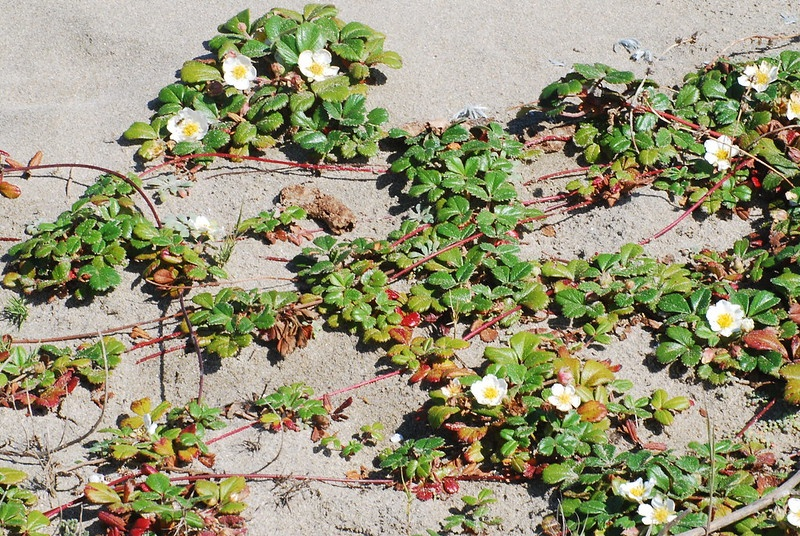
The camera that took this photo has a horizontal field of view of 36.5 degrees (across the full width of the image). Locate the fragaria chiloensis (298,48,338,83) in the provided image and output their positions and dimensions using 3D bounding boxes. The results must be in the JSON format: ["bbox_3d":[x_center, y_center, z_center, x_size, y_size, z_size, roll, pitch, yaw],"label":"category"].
[{"bbox_3d":[-0.835,-2.014,12.037,0.354,0.175,0.323,47,68,-13],"label":"fragaria chiloensis"}]

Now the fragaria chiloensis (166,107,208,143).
[{"bbox_3d":[-2.074,-1.376,11.887,0.394,0.244,0.296,4,53,-5],"label":"fragaria chiloensis"}]

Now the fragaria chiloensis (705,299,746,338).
[{"bbox_3d":[2.861,0.453,10.722,0.338,0.231,0.285,27,54,12],"label":"fragaria chiloensis"}]

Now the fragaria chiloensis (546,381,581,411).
[{"bbox_3d":[1.387,1.107,10.336,0.263,0.149,0.214,34,56,17],"label":"fragaria chiloensis"}]

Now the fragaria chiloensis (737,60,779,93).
[{"bbox_3d":[3.476,-1.872,11.790,0.324,0.124,0.349,-26,51,28],"label":"fragaria chiloensis"}]

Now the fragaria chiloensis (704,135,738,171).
[{"bbox_3d":[3.013,-1.090,11.467,0.315,0.164,0.340,-9,76,9],"label":"fragaria chiloensis"}]
